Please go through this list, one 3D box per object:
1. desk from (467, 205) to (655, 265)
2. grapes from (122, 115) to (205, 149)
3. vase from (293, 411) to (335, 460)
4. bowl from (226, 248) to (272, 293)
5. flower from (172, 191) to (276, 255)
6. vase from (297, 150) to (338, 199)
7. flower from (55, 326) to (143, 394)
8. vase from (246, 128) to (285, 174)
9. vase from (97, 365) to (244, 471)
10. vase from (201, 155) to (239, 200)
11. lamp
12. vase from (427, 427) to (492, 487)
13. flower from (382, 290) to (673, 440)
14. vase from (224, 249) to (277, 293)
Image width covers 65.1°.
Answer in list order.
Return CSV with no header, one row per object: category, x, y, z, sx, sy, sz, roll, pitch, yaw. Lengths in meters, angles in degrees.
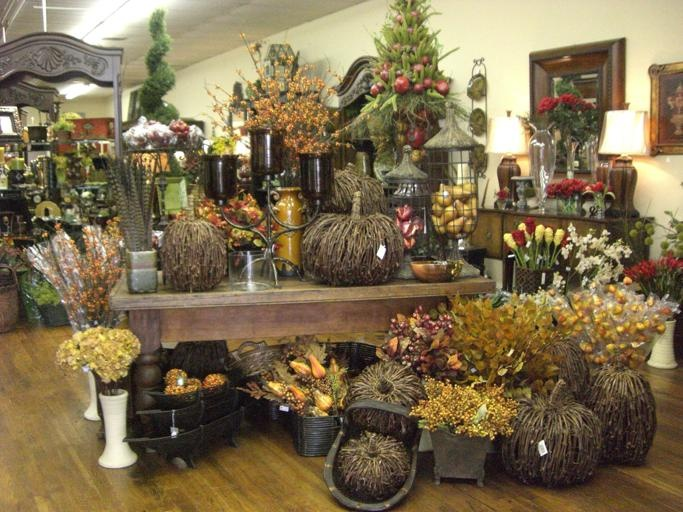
desk,1.922,-0.008,4.938,0.549,0.833,1.630,1,3,-29
grapes,-1.519,-1.008,4.712,0.405,0.168,0.479,4,8,42
vase,-0.125,0.853,2.652,0.188,0.203,0.227,-2,8,-30
bowl,-0.411,0.063,2.595,0.244,0.177,0.202,-5,9,-31
flower,-0.646,-0.204,3.027,0.409,0.331,0.545,-5,10,-24
vase,-0.121,-0.395,2.644,0.165,0.233,0.097,-1,8,-3
flower,-1.151,0.426,2.528,0.313,0.335,0.344,1,1,-35
vase,-0.368,-0.519,2.641,0.168,0.239,0.119,-5,9,-30
vase,-0.783,0.757,2.589,0.544,0.268,0.393,-3,5,-18
vase,-0.590,-0.377,2.597,0.209,0.236,0.194,-1,4,-8
lamp,1.661,-0.972,5.361,0.417,0.865,0.394,-4,6,-34
vase,0.481,0.861,2.433,0.269,0.251,0.302,4,8,-8
flower,0.889,0.413,2.601,1.318,0.500,0.520,-3,8,-19
vase,-0.429,0.071,2.592,0.197,0.148,0.207,0,0,-34
